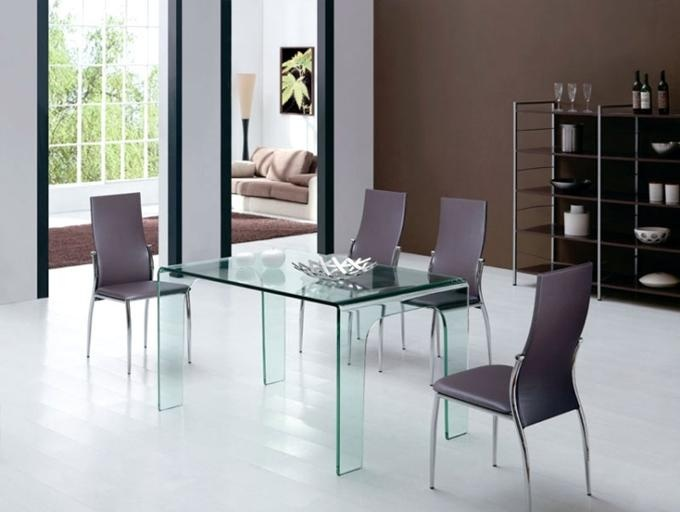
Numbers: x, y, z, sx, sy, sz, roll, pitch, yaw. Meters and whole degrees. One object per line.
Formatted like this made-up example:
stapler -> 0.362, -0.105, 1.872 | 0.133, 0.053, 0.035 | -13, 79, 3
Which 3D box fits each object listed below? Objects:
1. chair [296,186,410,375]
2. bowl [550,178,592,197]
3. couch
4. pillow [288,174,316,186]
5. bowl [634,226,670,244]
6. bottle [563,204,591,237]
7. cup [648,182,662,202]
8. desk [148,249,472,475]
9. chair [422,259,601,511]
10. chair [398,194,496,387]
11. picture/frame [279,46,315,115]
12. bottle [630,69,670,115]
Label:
chair -> 0.133, 0.173, 4.651 | 0.713, 1.356, 0.679 | -10, 14, -41
bowl -> 2.428, -0.738, 6.090 | 0.409, 0.144, 0.356 | 4, 12, 18
couch -> -1.187, -1.459, 11.176 | 2.411, 1.167, 1.089 | 10, 15, 32
pillow -> -0.671, -1.367, 10.453 | 0.214, 0.201, 0.650 | -8, 14, -35
bowl -> 2.984, -0.206, 5.572 | 0.281, 0.146, 0.264 | 0, 12, 0
bottle -> 2.436, -0.378, 6.026 | 0.285, 0.353, 0.299 | 0, 8, 2
cup -> 2.984, -0.606, 5.489 | 0.129, 0.169, 0.154 | 6, 13, 29
desk -> -0.172, 0.529, 3.436 | 1.774, 0.880, 0.997 | 8, 13, 32
chair -> 0.763, 0.552, 2.585 | 0.722, 1.085, 0.503 | 5, 12, 26
chair -> 0.702, 0.212, 4.255 | 0.700, 1.253, 0.692 | -4, 7, -25
picture/frame -> -0.864, -3.515, 11.655 | 0.945, 1.352, 0.139 | 9, 14, 38
bottle -> 2.963, -1.561, 5.523 | 0.318, 0.410, 0.498 | 6, 13, 29
